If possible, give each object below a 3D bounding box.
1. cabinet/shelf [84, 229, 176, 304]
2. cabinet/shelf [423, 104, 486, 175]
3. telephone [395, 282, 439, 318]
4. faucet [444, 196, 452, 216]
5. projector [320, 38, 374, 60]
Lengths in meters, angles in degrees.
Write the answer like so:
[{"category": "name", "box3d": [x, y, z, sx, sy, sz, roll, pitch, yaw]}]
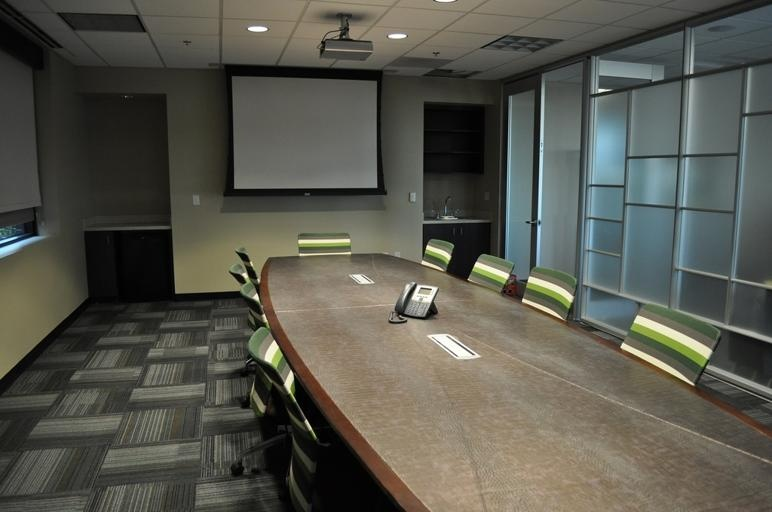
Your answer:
[{"category": "cabinet/shelf", "box3d": [-3.993, 0.140, 7.165, 1.096, 0.980, 0.547, -1, 12, -10]}, {"category": "cabinet/shelf", "box3d": [1.208, -2.133, 8.369, 1.275, 1.202, 0.398, -1, 5, -15]}, {"category": "telephone", "box3d": [0.235, 0.341, 3.534, 0.287, 0.204, 0.334, 8, 22, 30]}, {"category": "faucet", "box3d": [1.127, -0.913, 8.640, 0.127, 0.360, 0.240, 9, 17, 34]}, {"category": "projector", "box3d": [-0.410, -2.122, 4.783, 0.503, 0.192, 0.243, -1, 14, -5]}]
